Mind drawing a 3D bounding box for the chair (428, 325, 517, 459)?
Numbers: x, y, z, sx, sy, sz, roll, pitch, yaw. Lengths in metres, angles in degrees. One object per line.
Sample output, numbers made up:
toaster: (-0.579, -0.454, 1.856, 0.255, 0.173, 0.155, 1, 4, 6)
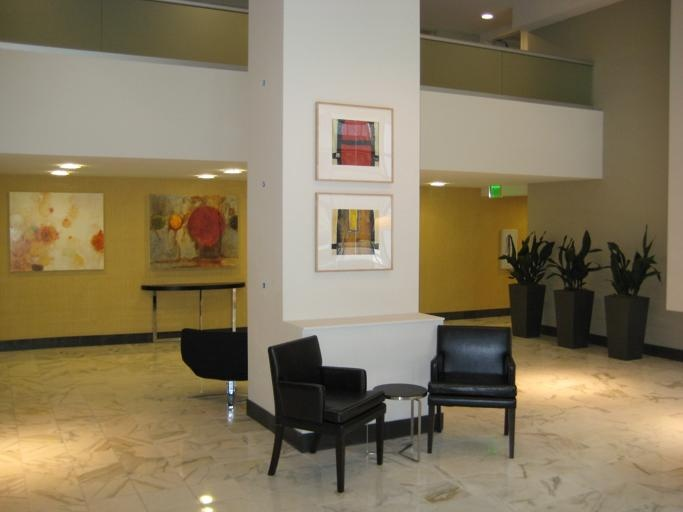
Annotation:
chair: (1.230, 1.230, 5.028, 0.928, 1.405, 1.028, 1, -2, 10)

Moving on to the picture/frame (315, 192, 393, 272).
picture/frame: (0.087, -0.249, 5.250, 0.742, 0.752, 0.050, 1, -2, -28)

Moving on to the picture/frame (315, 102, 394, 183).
picture/frame: (0.089, -1.137, 5.230, 0.784, 0.797, 0.032, 0, 0, -24)

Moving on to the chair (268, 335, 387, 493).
chair: (-0.123, 1.264, 4.353, 0.970, 1.070, 1.025, -1, 0, -9)

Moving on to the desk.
desk: (-2.268, 0.843, 8.909, 1.297, 0.798, 0.754, 2, 10, 20)

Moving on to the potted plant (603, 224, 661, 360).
potted plant: (4.422, 0.568, 8.019, 0.777, 1.940, 0.649, -4, 6, -40)

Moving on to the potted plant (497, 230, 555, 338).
potted plant: (3.256, 0.536, 9.541, 0.776, 1.739, 0.765, 2, 0, 39)

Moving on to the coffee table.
coffee table: (0.567, 1.454, 4.584, 0.420, 0.509, 0.408, 16, -13, -42)

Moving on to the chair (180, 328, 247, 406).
chair: (-1.248, 1.279, 6.238, 0.809, 0.993, 0.932, -9, -12, 34)

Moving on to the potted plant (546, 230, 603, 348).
potted plant: (3.944, 0.525, 8.875, 0.732, 1.927, 0.884, 2, 5, 22)
